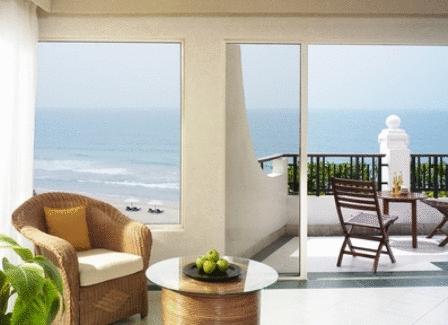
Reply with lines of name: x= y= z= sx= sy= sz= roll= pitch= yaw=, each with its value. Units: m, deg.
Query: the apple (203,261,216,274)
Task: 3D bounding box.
apple: x=-0.122 y=0.882 z=3.250 sx=0.102 sy=0.095 sz=0.102 roll=-7 pitch=14 yaw=-40

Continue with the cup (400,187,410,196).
cup: x=2.777 y=0.439 z=5.819 sx=0.124 sy=0.059 sz=0.124 roll=-2 pitch=3 yaw=0

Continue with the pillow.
pillow: x=-1.576 y=0.646 z=3.765 sx=0.445 sy=0.463 sz=0.159 roll=-3 pitch=-25 yaw=-42

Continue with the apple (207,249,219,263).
apple: x=-0.103 y=0.821 z=3.331 sx=0.091 sy=0.097 sz=0.091 roll=-14 pitch=18 yaw=-1

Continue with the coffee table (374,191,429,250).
coffee table: x=2.778 y=0.897 z=6.025 sx=0.754 sy=0.716 sz=0.711 roll=4 pitch=1 yaw=4

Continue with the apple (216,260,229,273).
apple: x=-0.015 y=0.868 z=3.223 sx=0.099 sy=0.093 sz=0.098 roll=0 pitch=-5 yaw=-18

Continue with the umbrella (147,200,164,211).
umbrella: x=-0.822 y=0.524 z=4.634 sx=0.135 sy=0.096 sz=0.140 roll=0 pitch=1 yaw=3

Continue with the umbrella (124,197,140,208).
umbrella: x=-1.106 y=0.475 z=4.579 sx=0.138 sy=0.096 sz=0.131 roll=0 pitch=11 yaw=-21
